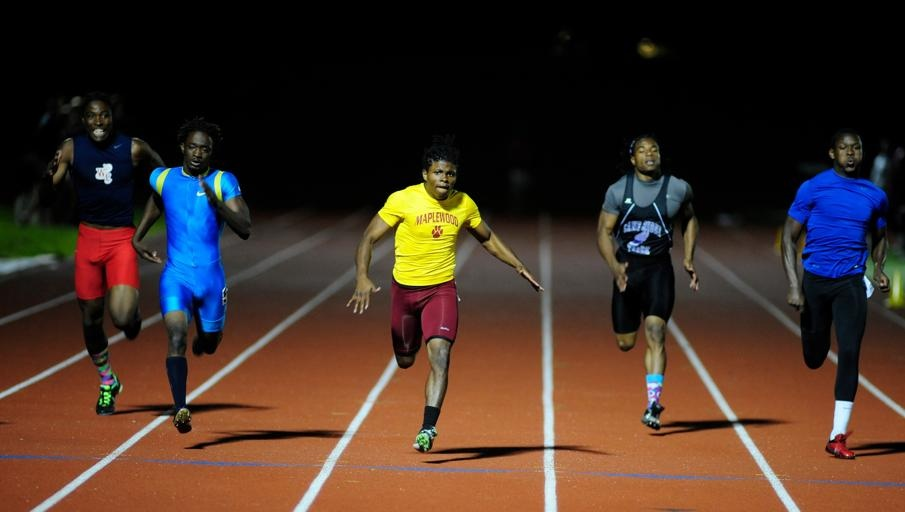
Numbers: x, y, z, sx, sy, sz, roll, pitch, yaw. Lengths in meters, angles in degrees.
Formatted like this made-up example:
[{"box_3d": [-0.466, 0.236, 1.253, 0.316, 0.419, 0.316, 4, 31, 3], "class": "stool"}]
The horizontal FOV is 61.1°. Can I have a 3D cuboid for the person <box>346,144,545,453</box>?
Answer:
[{"box_3d": [-0.176, 0.114, 7.353, 1.500, 2.326, 0.935, -1, 14, -5], "class": "person"}]

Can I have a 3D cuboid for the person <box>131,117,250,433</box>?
[{"box_3d": [-2.510, 0.128, 7.561, 1.035, 2.878, 1.397, -6, 15, -22], "class": "person"}]

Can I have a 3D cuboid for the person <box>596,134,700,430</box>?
[{"box_3d": [2.058, 0.335, 8.102, 0.815, 3.127, 1.020, -8, 17, -30], "class": "person"}]

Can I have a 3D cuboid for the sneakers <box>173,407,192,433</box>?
[{"box_3d": [-2.488, 1.547, 7.150, 0.118, 0.306, 0.222, -3, 15, -15], "class": "sneakers"}]

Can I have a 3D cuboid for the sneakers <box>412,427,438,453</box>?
[{"box_3d": [-0.237, 1.696, 6.996, 0.158, 0.250, 0.160, 2, 14, 6], "class": "sneakers"}]

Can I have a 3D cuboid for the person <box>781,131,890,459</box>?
[{"box_3d": [3.720, 0.403, 7.575, 0.949, 3.193, 0.878, 9, 17, 29], "class": "person"}]

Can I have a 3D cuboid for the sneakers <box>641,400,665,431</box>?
[{"box_3d": [2.030, 1.632, 7.785, 0.150, 0.336, 0.269, 6, 15, 22], "class": "sneakers"}]
